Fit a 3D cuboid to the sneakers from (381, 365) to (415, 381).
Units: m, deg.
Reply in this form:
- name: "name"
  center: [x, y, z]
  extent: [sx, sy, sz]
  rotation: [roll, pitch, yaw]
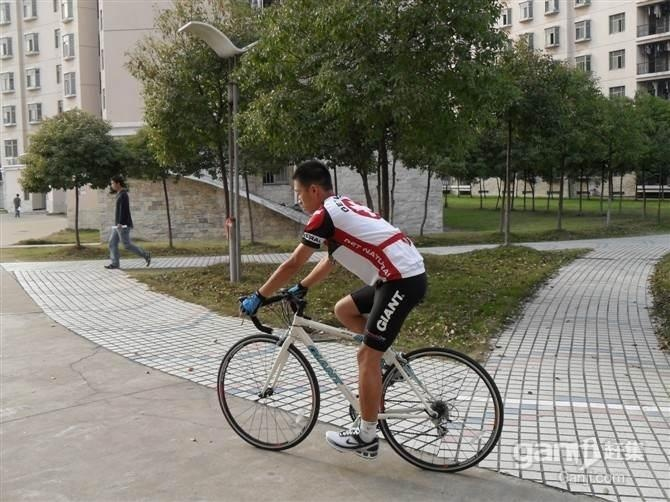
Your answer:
- name: "sneakers"
  center: [0.619, 1.215, 7.084]
  extent: [0.265, 0.121, 0.160]
  rotation: [-5, 1, 24]

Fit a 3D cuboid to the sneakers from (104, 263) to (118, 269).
- name: "sneakers"
  center: [-5.823, 0.390, 18.516]
  extent: [0.395, 0.156, 0.136]
  rotation: [4, -4, 8]
